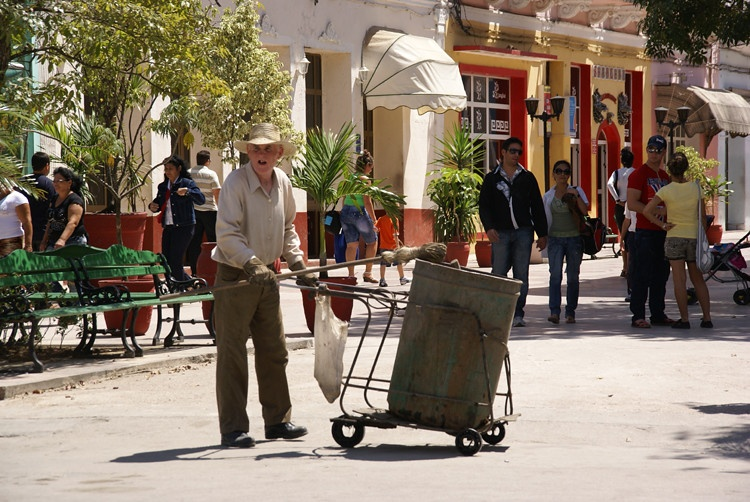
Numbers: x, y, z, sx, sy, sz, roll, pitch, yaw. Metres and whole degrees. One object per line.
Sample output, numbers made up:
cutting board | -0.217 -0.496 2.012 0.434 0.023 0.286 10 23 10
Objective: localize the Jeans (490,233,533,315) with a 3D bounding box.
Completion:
Jeans | 2.010 0.240 14.913 0.540 1.682 0.454 2 28 10

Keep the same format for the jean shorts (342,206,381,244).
jean shorts | -0.293 -0.492 19.520 0.627 0.853 0.459 2 25 32

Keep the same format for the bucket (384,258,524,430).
bucket | 0.738 0.938 9.567 1.038 1.685 0.949 15 -2 1

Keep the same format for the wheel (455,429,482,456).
wheel | 0.831 1.719 9.141 0.230 0.239 0.137 -1 -2 6

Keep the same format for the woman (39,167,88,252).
woman | -4.480 -0.628 14.862 0.582 1.215 0.794 1 -2 -28

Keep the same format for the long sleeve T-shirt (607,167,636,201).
long sleeve T-shirt | 4.706 -1.260 19.597 0.712 0.704 0.266 -6 11 -27

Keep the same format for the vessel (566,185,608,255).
vessel | 3.326 -0.377 15.456 0.357 0.750 0.474 8 -9 -11

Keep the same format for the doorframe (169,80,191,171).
doorframe | -3.508 -2.215 19.169 0.387 1.379 0.375 18 15 30

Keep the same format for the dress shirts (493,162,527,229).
dress shirts | 2.087 -0.836 14.737 0.502 0.821 0.770 -6 -10 -7

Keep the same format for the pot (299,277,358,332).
pot | -0.660 0.751 14.332 0.713 0.729 0.831 0 -5 -4

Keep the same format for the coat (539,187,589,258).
coat | 2.876 -0.438 15.357 0.772 0.877 0.695 3 39 18

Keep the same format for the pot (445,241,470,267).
pot | 1.870 -0.049 23.039 0.642 0.776 0.707 0 -2 -6

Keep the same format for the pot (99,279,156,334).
pot | -3.474 0.820 14.445 0.720 0.760 0.796 1 -3 -4

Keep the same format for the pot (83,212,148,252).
pot | -4.690 -0.327 18.892 0.832 0.749 0.895 9 -13 2

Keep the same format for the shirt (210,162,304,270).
shirt | -1.226 -0.284 9.892 1.014 1.208 0.827 0 2 -42

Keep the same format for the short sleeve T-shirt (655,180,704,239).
short sleeve T-shirt | 4.387 -0.581 14.758 0.671 0.815 0.390 -1 6 8

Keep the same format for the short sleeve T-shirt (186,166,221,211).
short sleeve T-shirt | -3.167 -1.184 18.995 0.674 0.941 0.324 7 27 18

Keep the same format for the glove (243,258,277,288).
glove | -1.029 0.185 9.233 0.291 0.261 0.232 0 -2 -7
